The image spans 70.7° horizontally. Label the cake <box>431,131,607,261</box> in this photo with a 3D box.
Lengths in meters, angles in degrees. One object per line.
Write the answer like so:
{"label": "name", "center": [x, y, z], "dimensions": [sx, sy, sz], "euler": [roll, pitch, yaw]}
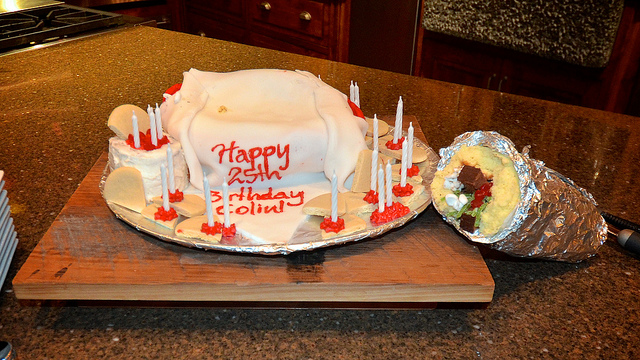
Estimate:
{"label": "cake", "center": [0.511, 0.056, 1.194], "dimensions": [0.509, 0.182, 0.265], "euler": [7, 50, -20]}

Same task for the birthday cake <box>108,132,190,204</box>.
{"label": "birthday cake", "center": [-0.496, -0.052, 1.386], "dimensions": [0.226, 0.123, 0.216], "euler": [-13, 24, -31]}

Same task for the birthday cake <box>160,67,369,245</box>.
{"label": "birthday cake", "center": [-0.150, -0.069, 1.492], "dimensions": [0.756, 0.486, 0.550], "euler": [-3, 40, -2]}
